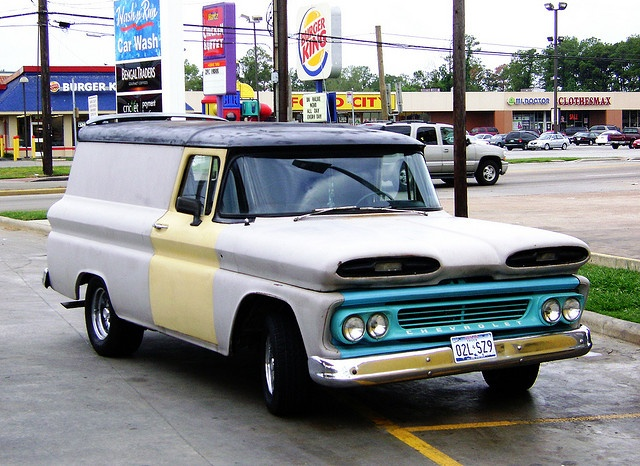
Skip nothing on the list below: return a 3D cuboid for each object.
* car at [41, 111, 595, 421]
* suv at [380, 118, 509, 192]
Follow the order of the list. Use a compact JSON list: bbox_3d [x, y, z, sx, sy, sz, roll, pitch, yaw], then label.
[{"bbox_3d":[-0.504,0.161,5.617,2.701,1.894,4.818,-3,5,-39],"label":"car"},{"bbox_3d":[6.242,-3.685,26.281,7.288,2.835,3.290,-4,8,-23],"label":"suv"}]
